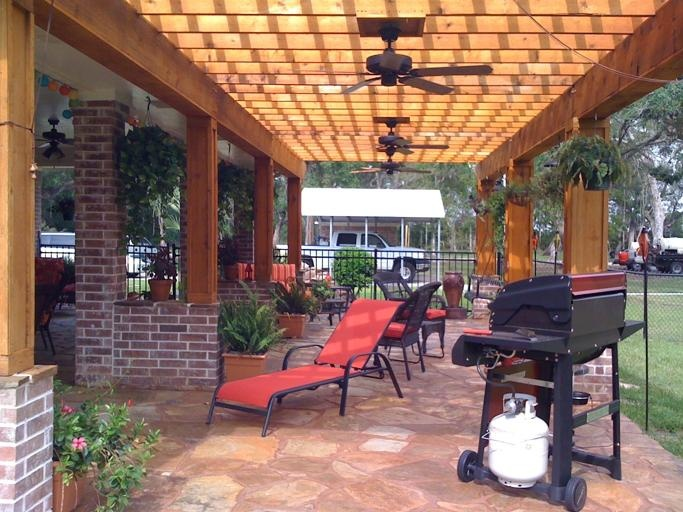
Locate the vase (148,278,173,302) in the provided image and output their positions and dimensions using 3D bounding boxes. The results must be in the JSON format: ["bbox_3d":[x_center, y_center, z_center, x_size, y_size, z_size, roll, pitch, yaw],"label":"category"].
[{"bbox_3d":[-2.253,0.423,7.646,0.236,0.215,0.260,-1,-8,4],"label":"vase"}]

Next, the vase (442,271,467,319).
[{"bbox_3d":[2.414,0.828,13.197,0.508,0.998,0.544,-1,2,-8],"label":"vase"}]

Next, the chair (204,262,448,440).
[{"bbox_3d":[-0.045,0.999,7.392,1.096,1.568,3.564,-2,-1,35],"label":"chair"}]

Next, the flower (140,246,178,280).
[{"bbox_3d":[-2.307,0.059,7.741,0.305,0.383,0.324,25,2,6],"label":"flower"}]
